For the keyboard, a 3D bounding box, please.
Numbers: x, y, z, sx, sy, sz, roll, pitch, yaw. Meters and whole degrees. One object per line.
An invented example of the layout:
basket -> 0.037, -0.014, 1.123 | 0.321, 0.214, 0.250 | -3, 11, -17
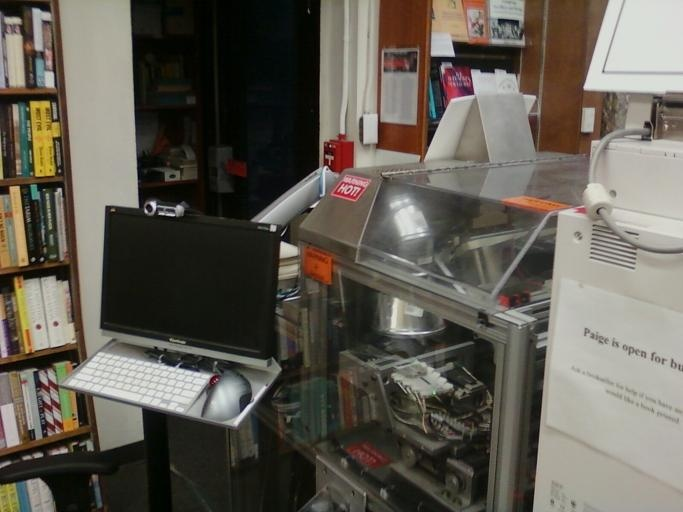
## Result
keyboard -> -0.597, 0.376, 1.731 | 0.389, 0.043, 0.177 | 9, 34, 25

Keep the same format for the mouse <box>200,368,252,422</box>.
mouse -> -0.306, 0.383, 1.577 | 0.114, 0.062, 0.169 | 3, 17, 15
